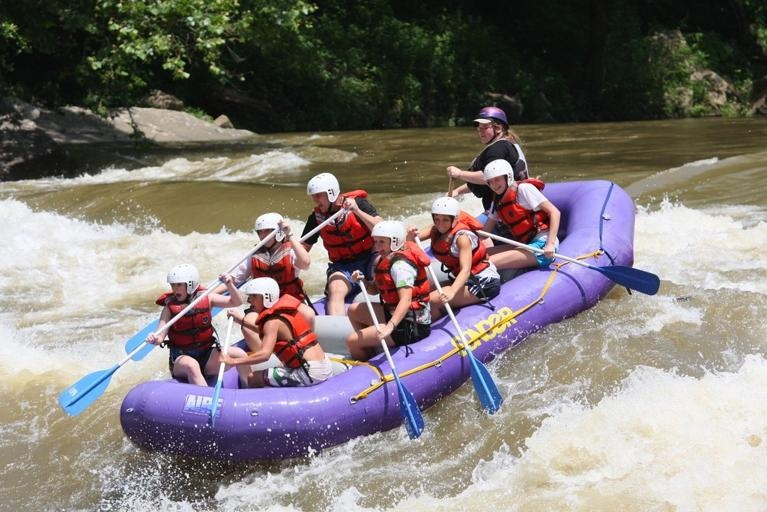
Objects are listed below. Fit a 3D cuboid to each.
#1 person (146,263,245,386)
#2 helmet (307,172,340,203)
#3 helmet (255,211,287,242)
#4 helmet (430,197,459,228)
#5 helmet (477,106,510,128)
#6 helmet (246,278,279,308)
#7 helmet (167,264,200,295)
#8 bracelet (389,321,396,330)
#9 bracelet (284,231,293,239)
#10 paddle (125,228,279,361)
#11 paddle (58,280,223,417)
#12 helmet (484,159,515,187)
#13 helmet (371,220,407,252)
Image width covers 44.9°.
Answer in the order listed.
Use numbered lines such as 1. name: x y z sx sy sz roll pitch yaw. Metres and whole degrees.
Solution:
1. person: -2.339 0.980 11.783 1.097 1.770 1.051 -3 12 -1
2. helmet: -0.783 -0.899 12.450 0.424 0.341 0.323 -30 15 -30
3. helmet: -1.415 -0.397 12.272 0.309 0.308 0.396 -14 -6 42
4. helmet: 0.803 -0.587 12.028 0.275 0.288 0.367 1 -5 16
5. helmet: 1.607 -2.023 13.165 0.472 0.236 0.338 5 -2 -12
6. helmet: -1.453 0.408 11.481 0.393 0.313 0.325 -12 22 -11
7. helmet: -2.497 0.284 11.731 0.323 0.363 0.387 -3 -3 41
8. bracelet: 0.144 0.875 11.611 0.057 0.076 0.030 -16 -9 -8
9. bracelet: -1.221 -0.268 12.095 0.081 0.034 0.093 23 12 -32
10. paddle: -2.500 0.591 12.816 2.706 0.387 0.128 -38 40 1
11. paddle: -3.183 1.296 12.278 2.668 0.390 0.120 -38 -3 -14
12. helmet: 1.588 -1.157 12.637 0.319 0.362 0.287 -12 41 37
13. helmet: 0.090 -0.257 11.831 0.417 0.336 0.313 -8 3 -31
